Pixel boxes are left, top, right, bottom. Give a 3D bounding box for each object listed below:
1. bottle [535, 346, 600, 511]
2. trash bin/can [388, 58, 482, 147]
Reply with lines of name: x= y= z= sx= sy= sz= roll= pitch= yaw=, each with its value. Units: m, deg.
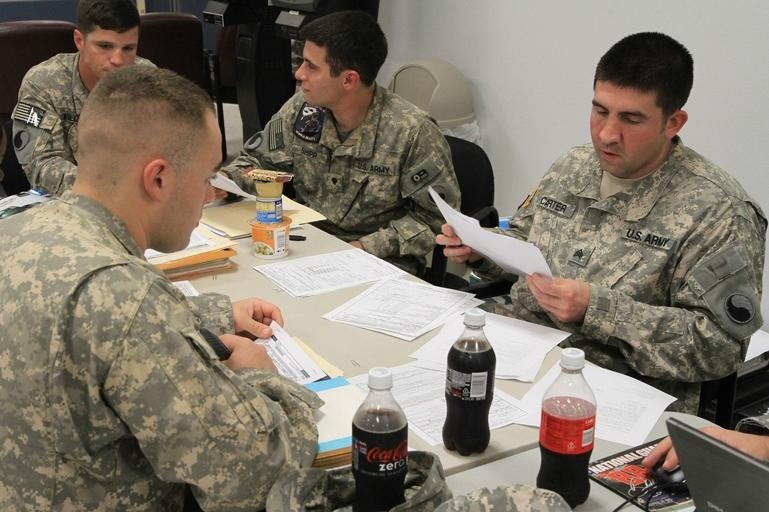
bottle: x=0.408 y=0.405 z=1.400 sx=0.134 sy=0.283 sz=0.101 roll=11 pitch=21 yaw=19
trash bin/can: x=0.321 y=-0.882 z=3.650 sx=0.498 sy=0.540 sz=0.484 roll=-31 pitch=38 yaw=-30
